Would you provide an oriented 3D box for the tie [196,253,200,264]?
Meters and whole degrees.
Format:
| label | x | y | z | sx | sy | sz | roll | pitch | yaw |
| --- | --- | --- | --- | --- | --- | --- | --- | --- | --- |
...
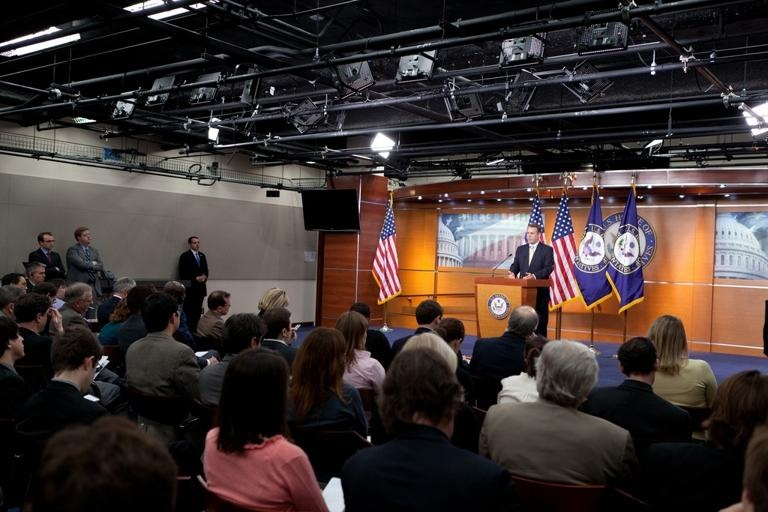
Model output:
| label | x | y | z | sx | sy | sz | roll | pitch | yaw |
| --- | --- | --- | --- | --- | --- | --- | --- | --- | --- |
| tie | -4.268 | 0.059 | 12.235 | 0.058 | 0.274 | 0.028 | -17 | 14 | -39 |

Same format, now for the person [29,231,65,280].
| label | x | y | z | sx | sy | sz | roll | pitch | yaw |
| --- | --- | --- | --- | --- | --- | --- | --- | --- | --- |
| person | -5.753 | -0.019 | 9.155 | 0.538 | 0.791 | 0.682 | 3 | -2 | -19 |

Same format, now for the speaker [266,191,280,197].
| label | x | y | z | sx | sy | sz | roll | pitch | yaw |
| --- | --- | --- | --- | --- | --- | --- | --- | --- | --- |
| speaker | -2.792 | -1.588 | 13.484 | 0.349 | 0.186 | 0.228 | -5 | 13 | -3 |

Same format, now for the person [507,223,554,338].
| label | x | y | z | sx | sy | sz | roll | pitch | yaw |
| --- | --- | --- | --- | --- | --- | --- | --- | --- | --- |
| person | 2.256 | 0.340 | 8.200 | 0.623 | 1.713 | 0.952 | 2 | -2 | 16 |

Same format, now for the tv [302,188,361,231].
| label | x | y | z | sx | sy | sz | roll | pitch | yaw |
| --- | --- | --- | --- | --- | --- | --- | --- | --- | --- |
| tv | -1.189 | -1.120 | 12.481 | 1.072 | 0.777 | 0.114 | 3 | 21 | 16 |

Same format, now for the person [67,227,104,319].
| label | x | y | z | sx | sy | sz | roll | pitch | yaw |
| --- | --- | --- | --- | --- | --- | --- | --- | --- | --- |
| person | -5.298 | 0.264 | 9.476 | 0.558 | 1.458 | 1.656 | 4 | -2 | -27 |
